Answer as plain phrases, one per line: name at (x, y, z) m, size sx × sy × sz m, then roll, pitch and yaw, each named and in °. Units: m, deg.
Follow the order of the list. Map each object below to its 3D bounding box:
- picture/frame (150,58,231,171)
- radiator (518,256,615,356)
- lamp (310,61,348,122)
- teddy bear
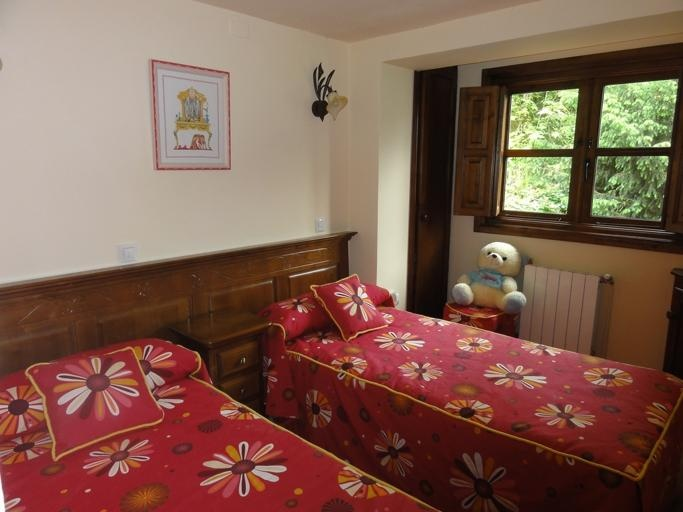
picture/frame at (-0.991, -0.922, 3.022) m, size 0.039 × 0.856 × 0.729 m, roll 6°, pitch 10°, yaw 43°
radiator at (1.850, 0.477, 4.154) m, size 0.697 × 0.690 × 0.226 m, roll 13°, pitch -16°, yaw -1°
lamp at (-0.096, -1.315, 3.774) m, size 0.273 × 0.444 × 0.323 m, roll 0°, pitch 13°, yaw -3°
teddy bear at (1.392, 0.188, 4.184) m, size 0.634 × 0.595 × 0.607 m, roll -5°, pitch 14°, yaw -38°
